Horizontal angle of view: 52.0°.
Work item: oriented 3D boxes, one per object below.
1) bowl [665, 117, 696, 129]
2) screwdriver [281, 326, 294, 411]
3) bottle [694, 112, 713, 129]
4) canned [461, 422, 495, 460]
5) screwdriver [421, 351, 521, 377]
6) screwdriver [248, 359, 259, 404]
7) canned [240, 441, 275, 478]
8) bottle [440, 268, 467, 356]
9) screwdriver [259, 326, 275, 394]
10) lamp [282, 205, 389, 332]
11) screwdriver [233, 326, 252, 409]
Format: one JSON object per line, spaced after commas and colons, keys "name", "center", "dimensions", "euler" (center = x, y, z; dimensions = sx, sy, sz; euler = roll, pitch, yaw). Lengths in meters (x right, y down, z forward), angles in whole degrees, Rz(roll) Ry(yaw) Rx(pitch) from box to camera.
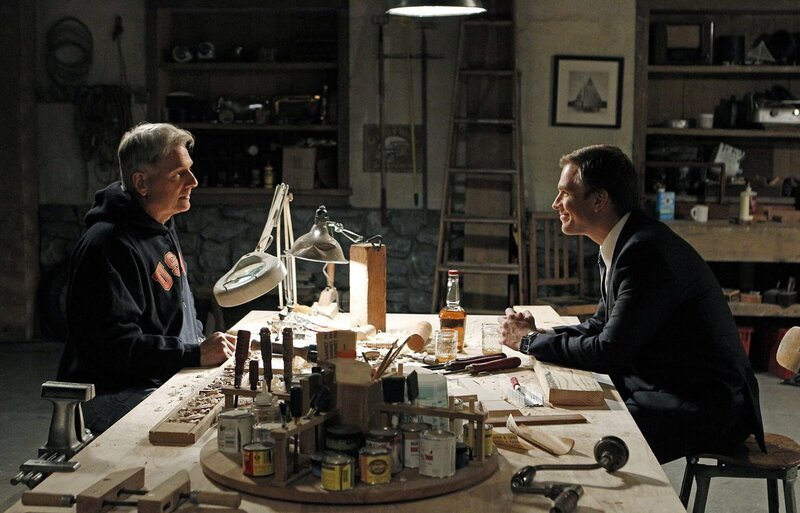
{"name": "bowl", "center": [2.585, -1.201, 7.428], "dimensions": [0.327, 0.108, 0.165], "euler": [-3, 5, -25]}
{"name": "screwdriver", "center": [-0.492, 0.457, 3.626], "dimensions": [0.064, 0.281, 0.054], "euler": [0, -5, -23]}
{"name": "bottle", "center": [2.763, -1.227, 7.437], "dimensions": [0.149, 0.122, 0.144], "euler": [0, 4, 6]}
{"name": "canned", "center": [0.343, 0.768, 3.482], "dimensions": [0.149, 0.149, 0.145], "euler": [-1, 3, -3]}
{"name": "screwdriver", "center": [0.390, 0.542, 4.221], "dimensions": [0.558, 0.073, 0.156], "euler": [-2, 3, -15]}
{"name": "screwdriver", "center": [-0.642, 0.543, 3.629], "dimensions": [0.040, 0.171, 0.041], "euler": [0, 3, 5]}
{"name": "canned", "center": [-0.577, 0.839, 3.462], "dimensions": [0.134, 0.137, 0.135], "euler": [0, 1, 25]}
{"name": "bottle", "center": [0.294, 0.304, 4.477], "dimensions": [0.154, 0.445, 0.160], "euler": [1, 0, 0]}
{"name": "screwdriver", "center": [-0.575, 0.456, 3.652], "dimensions": [0.057, 0.264, 0.063], "euler": [-7, 5, -22]}
{"name": "lamp", "center": [-0.361, 0.096, 4.622], "dimensions": [0.528, 0.655, 0.304], "euler": [-2, 6, -36]}
{"name": "screwdriver", "center": [-0.700, 0.490, 3.675], "dimensions": [0.068, 0.369, 0.064], "euler": [2, 7, -22]}
